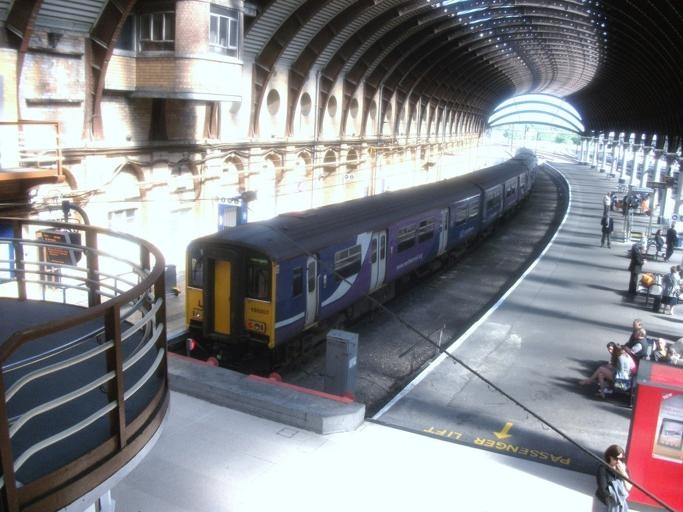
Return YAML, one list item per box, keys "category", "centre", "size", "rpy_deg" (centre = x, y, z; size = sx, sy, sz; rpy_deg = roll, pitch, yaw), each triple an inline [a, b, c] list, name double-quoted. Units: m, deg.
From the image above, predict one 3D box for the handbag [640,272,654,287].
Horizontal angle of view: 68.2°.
- category: "handbag"
  centre: [11.919, 0.888, 19.692]
  size: [0.401, 0.529, 0.557]
  rpy_deg: [7, 7, 28]

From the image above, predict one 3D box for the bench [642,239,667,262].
- category: "bench"
  centre: [16.152, -0.307, 26.036]
  size: [0.332, 0.636, 2.349]
  rpy_deg: [11, 25, 39]
